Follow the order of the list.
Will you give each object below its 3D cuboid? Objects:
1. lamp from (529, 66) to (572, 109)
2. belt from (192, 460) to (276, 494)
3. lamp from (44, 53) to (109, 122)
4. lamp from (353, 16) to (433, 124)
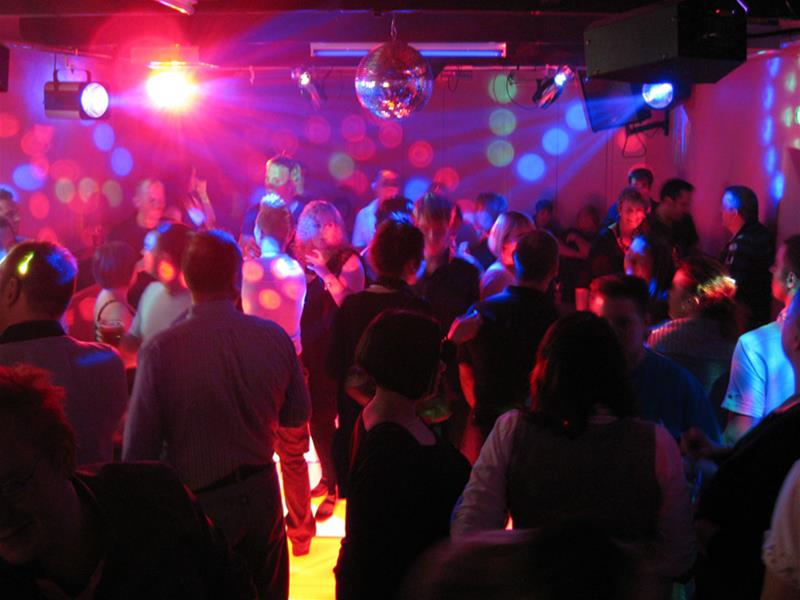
[{"bbox_3d":[1.356,-1.963,6.613,0.308,0.360,0.549,-1,-3,7],"label":"lamp"},{"bbox_3d":[-0.639,0.659,2.772,0.154,0.040,0.160,-24,1,13],"label":"belt"},{"bbox_3d":[-2.476,-1.580,5.676,0.438,0.349,0.259,0,-3,-26],"label":"lamp"},{"bbox_3d":[-0.034,-1.199,3.817,0.353,0.549,0.374,-1,4,-1],"label":"lamp"}]
